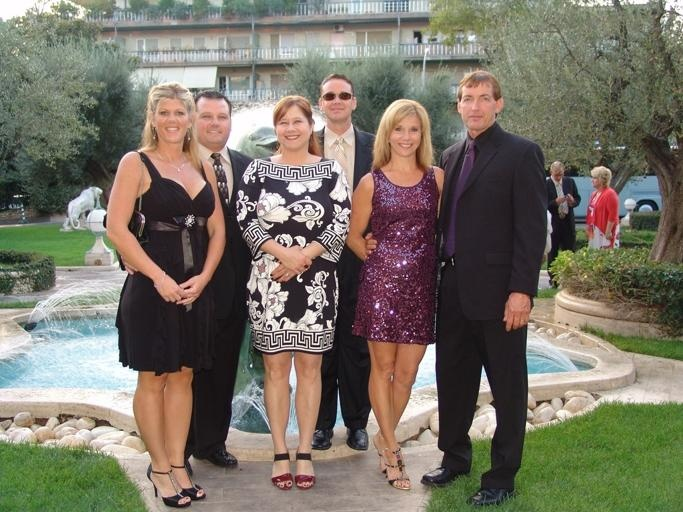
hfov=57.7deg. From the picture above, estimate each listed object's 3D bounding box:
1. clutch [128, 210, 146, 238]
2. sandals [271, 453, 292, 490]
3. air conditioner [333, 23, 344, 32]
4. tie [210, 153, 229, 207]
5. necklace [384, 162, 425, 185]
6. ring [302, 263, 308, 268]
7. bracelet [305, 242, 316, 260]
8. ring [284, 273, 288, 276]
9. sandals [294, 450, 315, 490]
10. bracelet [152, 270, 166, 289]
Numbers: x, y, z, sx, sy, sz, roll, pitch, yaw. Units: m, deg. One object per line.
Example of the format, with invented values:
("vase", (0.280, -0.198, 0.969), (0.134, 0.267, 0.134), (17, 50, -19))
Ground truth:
("clutch", (-1.304, -0.212, 3.942), (0.061, 0.134, 0.132), (-7, 22, -32))
("sandals", (-0.416, 1.466, 4.287), (0.147, 0.226, 0.187), (-4, 8, -9))
("air conditioner", (-0.173, -14.631, 39.863), (0.688, 0.614, 0.385), (1, 3, 9))
("tie", (-0.881, -0.557, 4.540), (0.071, 0.581, 0.077), (-8, -2, 1))
("necklace", (0.435, -0.564, 4.281), (0.205, 0.183, 0.099), (2, -3, 1))
("ring", (-0.247, 0.065, 4.198), (0.033, 0.021, 0.022), (4, 6, -36))
("bracelet", (-0.209, -0.034, 4.196), (0.071, 0.106, 0.038), (4, -10, -2))
("ring", (-0.375, 0.121, 4.188), (0.018, 0.021, 0.012), (4, 7, -1))
("sandals", (-0.252, 1.478, 4.191), (0.096, 0.117, 0.270), (0, -2, -4))
("bracelet", (-1.154, 0.148, 3.911), (0.076, 0.096, 0.040), (-3, 9, -39))
